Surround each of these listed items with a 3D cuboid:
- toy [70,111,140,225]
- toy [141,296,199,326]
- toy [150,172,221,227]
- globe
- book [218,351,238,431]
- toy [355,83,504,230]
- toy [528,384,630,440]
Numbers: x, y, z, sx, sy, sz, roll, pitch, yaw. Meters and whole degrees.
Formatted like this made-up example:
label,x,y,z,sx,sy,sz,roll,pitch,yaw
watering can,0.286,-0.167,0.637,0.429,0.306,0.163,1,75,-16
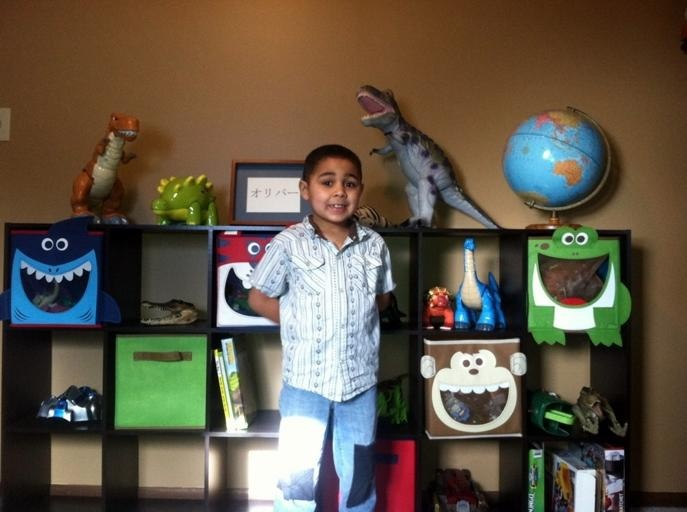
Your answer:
label,x,y,z,sx,sy,sz,roll,pitch,yaw
toy,-1.090,-0.386,3.180,0.289,0.494,0.344,2,-4,-18
toy,-0.793,0.241,3.151,0.242,0.126,0.124,3,1,3
toy,-0.725,-0.241,3.170,0.250,0.255,0.322,-1,0,37
globe,0.972,-0.393,3.202,0.418,0.547,0.448,-5,24,-4
book,-0.507,0.586,3.015,0.098,0.349,0.031,2,-4,-10
toy,0.404,-0.361,3.229,0.858,0.554,0.256,20,-12,-21
toy,1.003,0.691,3.065,0.217,0.123,0.281,1,4,-40
